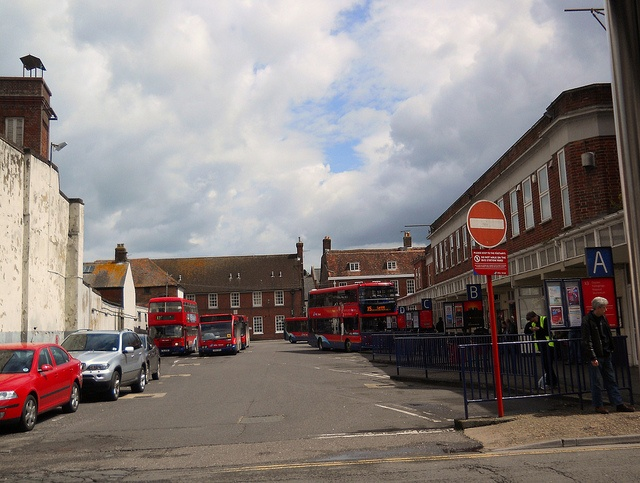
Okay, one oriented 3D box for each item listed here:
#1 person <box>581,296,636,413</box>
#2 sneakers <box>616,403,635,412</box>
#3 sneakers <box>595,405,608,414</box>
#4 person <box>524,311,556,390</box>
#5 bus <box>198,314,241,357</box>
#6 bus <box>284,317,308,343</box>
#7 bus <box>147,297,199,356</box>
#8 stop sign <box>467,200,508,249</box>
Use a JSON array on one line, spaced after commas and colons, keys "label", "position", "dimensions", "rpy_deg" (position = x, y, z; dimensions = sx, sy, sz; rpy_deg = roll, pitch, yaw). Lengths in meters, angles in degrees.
[{"label": "person", "position": [6.036, 2.389, 13.974], "dimensions": [0.926, 2.371, 0.908], "rpy_deg": [1, -4, -45]}, {"label": "sneakers", "position": [6.377, 3.454, 13.675], "dimensions": [0.327, 0.154, 0.268], "rpy_deg": [-4, -5, 18]}, {"label": "sneakers", "position": [5.874, 3.491, 13.624], "dimensions": [0.265, 0.135, 0.241], "rpy_deg": [-5, -5, 25]}, {"label": "person", "position": [5.603, 2.670, 16.662], "dimensions": [0.610, 1.680, 4.111], "rpy_deg": [-3, -5, 17]}, {"label": "bus", "position": [-6.535, 6.050, 42.634], "dimensions": [1.400, 1.896, 4.382], "rpy_deg": [-1, -12, 1]}, {"label": "bus", "position": [-2.492, 9.485, 70.153], "dimensions": [0.979, 2.480, 4.073], "rpy_deg": [0, -5, -29]}, {"label": "bus", "position": [-10.435, 6.264, 47.061], "dimensions": [1.995, 3.480, 6.206], "rpy_deg": [-2, -13, 3]}, {"label": "stop sign", "position": [3.580, -0.416, 14.049], "dimensions": [0.908, 1.027, 0.407], "rpy_deg": [1, -4, -35]}]
